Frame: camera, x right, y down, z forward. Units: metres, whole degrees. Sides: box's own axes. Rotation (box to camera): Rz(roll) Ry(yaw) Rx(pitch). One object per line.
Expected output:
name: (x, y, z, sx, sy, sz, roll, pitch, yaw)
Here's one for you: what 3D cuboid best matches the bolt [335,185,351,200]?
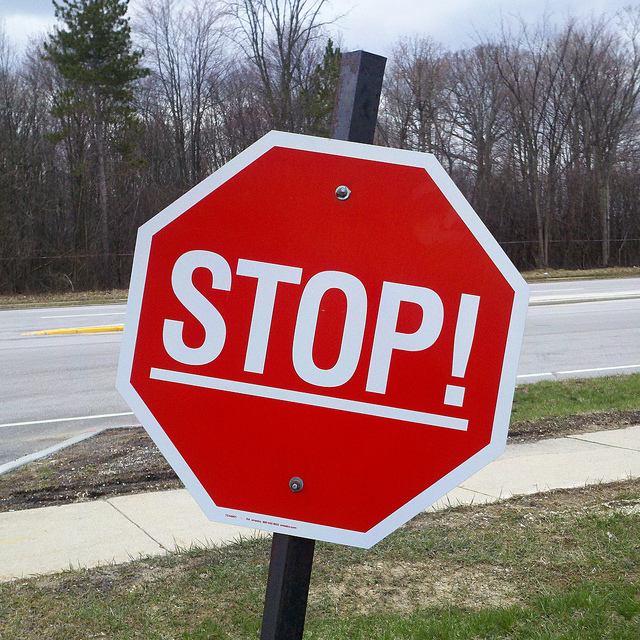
bolt: (0.129, -0.700, 6.025, 0.065, 0.077, 0.021, 1, 3, 4)
